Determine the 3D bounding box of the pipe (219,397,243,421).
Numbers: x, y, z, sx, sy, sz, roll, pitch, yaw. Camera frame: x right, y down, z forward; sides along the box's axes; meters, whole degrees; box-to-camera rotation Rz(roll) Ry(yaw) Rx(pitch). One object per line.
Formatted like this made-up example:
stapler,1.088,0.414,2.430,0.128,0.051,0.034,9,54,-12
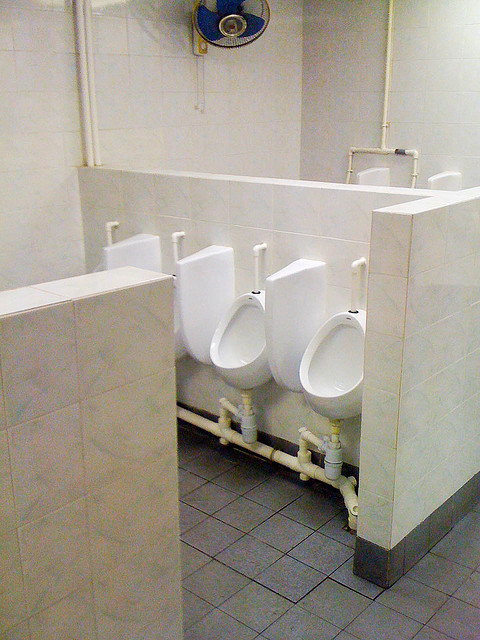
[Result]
pipe,-0.043,0.446,2.726,0.067,0.069,0.165,-8,31,-35

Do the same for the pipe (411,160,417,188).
pipe,1.222,-1.023,3.761,0.028,0.183,0.054,2,11,19

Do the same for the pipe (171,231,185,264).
pipe,-0.305,-0.366,2.699,0.079,0.138,0.038,-10,14,-40

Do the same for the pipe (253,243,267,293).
pipe,0.071,-0.237,2.453,0.072,0.222,0.121,-6,12,-28

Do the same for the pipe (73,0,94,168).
pipe,-0.873,-1.305,3.006,0.064,0.856,0.149,-4,10,-16

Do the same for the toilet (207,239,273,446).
toilet,0.021,0.143,2.492,0.259,0.940,0.254,8,12,34

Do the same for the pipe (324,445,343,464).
pipe,0.392,0.567,2.247,0.054,0.084,0.064,0,5,1

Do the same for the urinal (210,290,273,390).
urinal,0.020,0.106,2.451,0.257,0.466,0.290,2,3,21

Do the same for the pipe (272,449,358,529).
pipe,0.339,0.690,2.369,0.100,0.257,0.265,9,0,-33

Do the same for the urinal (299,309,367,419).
urinal,0.396,0.207,2.142,0.228,0.387,0.333,21,43,37

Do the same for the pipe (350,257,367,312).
pipe,0.458,-0.128,2.082,0.060,0.214,0.120,2,11,15

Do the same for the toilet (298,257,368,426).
toilet,0.395,0.105,2.121,0.259,0.655,0.243,-7,14,-36

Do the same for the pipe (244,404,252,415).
pipe,0.036,0.434,2.640,0.035,0.079,0.039,-5,9,-32
